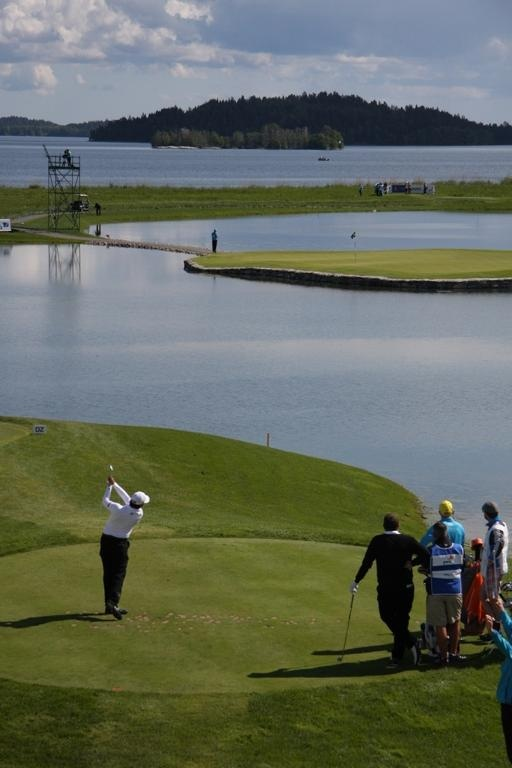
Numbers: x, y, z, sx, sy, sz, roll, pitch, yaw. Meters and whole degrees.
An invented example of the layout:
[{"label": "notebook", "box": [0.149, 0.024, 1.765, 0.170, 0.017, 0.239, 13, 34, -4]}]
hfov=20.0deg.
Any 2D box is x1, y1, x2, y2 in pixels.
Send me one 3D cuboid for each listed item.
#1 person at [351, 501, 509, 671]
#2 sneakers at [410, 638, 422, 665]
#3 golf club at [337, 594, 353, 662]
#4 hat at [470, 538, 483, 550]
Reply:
[{"label": "person", "box": [1.485, 1.953, 13.480, 0.998, 1.276, 0.326, 1, 6, -19]}, {"label": "sneakers", "box": [1.502, 2.510, 13.488, 0.067, 0.271, 0.090, -5, 6, -29]}, {"label": "golf club", "box": [0.871, 2.407, 14.031, 0.031, 0.556, 0.076, 6, 3, -7]}, {"label": "hat", "box": [2.258, 1.627, 14.774, 0.091, 0.090, 0.155, -3, -19, -5]}]
